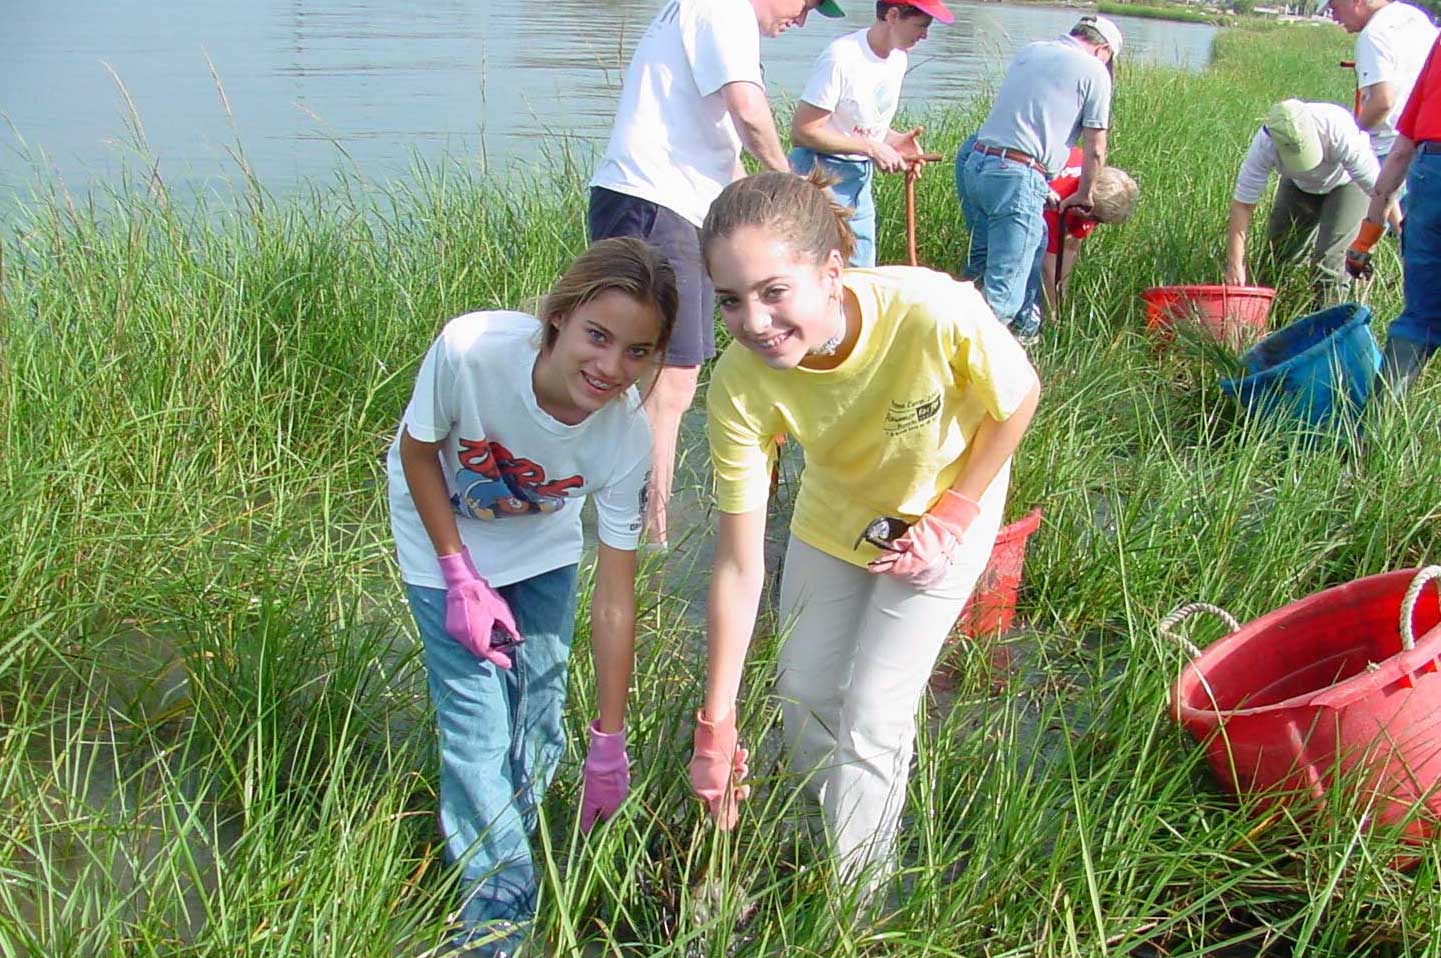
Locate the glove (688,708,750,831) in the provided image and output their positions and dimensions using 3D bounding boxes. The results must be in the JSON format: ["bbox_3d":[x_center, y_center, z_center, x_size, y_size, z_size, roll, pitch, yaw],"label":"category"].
[{"bbox_3d":[-0.003,0.907,3.888,0.182,0.362,0.140,-3,13,-6],"label":"glove"}]

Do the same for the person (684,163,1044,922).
[{"bbox_3d":[0.453,0.278,3.969,1.056,1.929,0.877,0,27,-2],"label":"person"}]

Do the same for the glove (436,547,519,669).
[{"bbox_3d":[-0.772,0.408,3.965,0.196,0.411,0.144,-25,3,-5],"label":"glove"}]

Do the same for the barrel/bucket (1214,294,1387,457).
[{"bbox_3d":[2.991,-0.555,6.372,0.700,0.597,1.188,17,32,26],"label":"barrel/bucket"}]

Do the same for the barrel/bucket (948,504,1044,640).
[{"bbox_3d":[1.126,0.424,5.026,0.333,0.530,0.133,18,26,-29],"label":"barrel/bucket"}]

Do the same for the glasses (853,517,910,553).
[{"bbox_3d":[0.523,0.174,3.978,0.092,0.052,0.132,9,20,18],"label":"glasses"}]

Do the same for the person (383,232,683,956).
[{"bbox_3d":[-0.563,0.343,3.944,0.868,2.014,0.865,-7,28,-17],"label":"person"}]

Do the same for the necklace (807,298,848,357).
[{"bbox_3d":[0.344,-0.437,3.802,0.051,0.138,0.164,19,32,31],"label":"necklace"}]

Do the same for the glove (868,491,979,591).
[{"bbox_3d":[0.651,0.205,3.893,0.157,0.277,0.356,24,35,37],"label":"glove"}]
